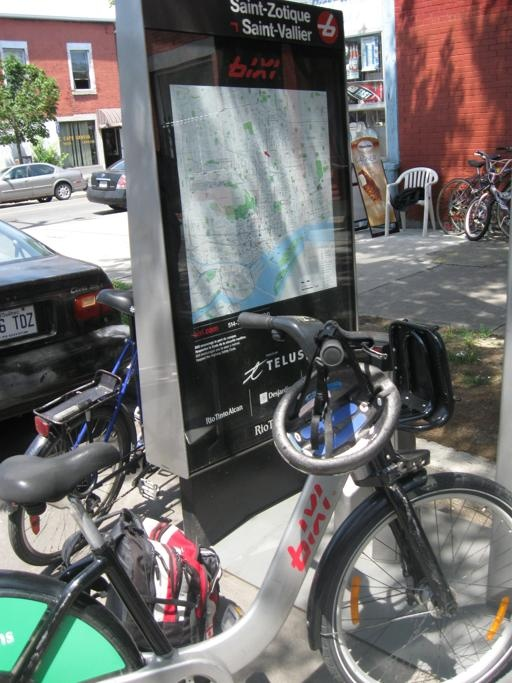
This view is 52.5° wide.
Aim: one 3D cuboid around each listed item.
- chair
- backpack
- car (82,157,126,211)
[{"bbox_3d":[3.084,-2.793,10.336,0.969,1.221,0.964,5,26,24],"label":"chair"},{"bbox_3d":[-0.297,0.753,1.599,0.390,0.376,0.381,-5,-16,-5],"label":"backpack"},{"bbox_3d":[-4.675,-4.827,16.209,1.250,1.554,2.139,-12,16,-14],"label":"car"}]
